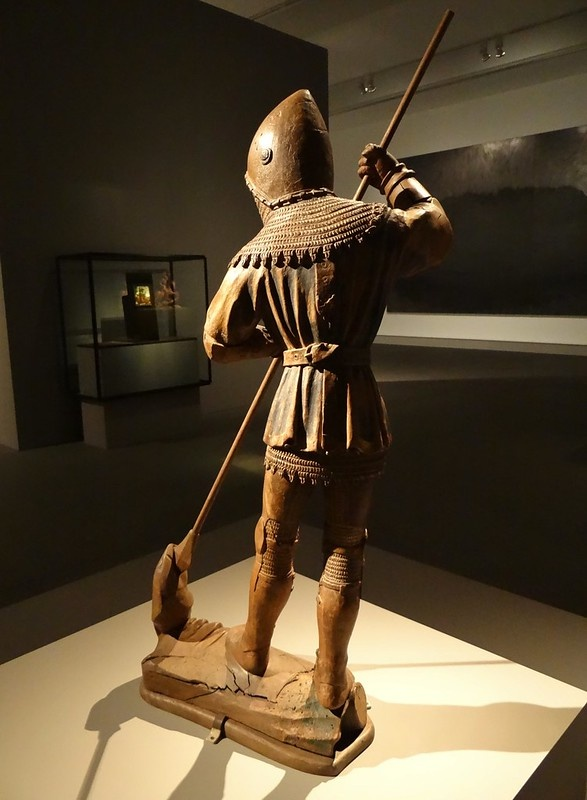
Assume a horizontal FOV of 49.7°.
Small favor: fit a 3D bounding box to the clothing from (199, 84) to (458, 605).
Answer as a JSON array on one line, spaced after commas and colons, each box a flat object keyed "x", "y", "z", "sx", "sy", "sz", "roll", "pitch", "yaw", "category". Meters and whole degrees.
[{"x": 0.106, "y": -0.080, "z": 2.036, "sx": 0.849, "sy": 1.628, "sz": 0.596, "roll": -2, "pitch": 9, "yaw": -5, "category": "clothing"}]

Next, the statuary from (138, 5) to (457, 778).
[{"x": -0.054, "y": 0.033, "z": 2.164, "sx": 1.015, "sy": 2.169, "sz": 0.794, "roll": 8, "pitch": 13, "yaw": 27, "category": "statuary"}]
